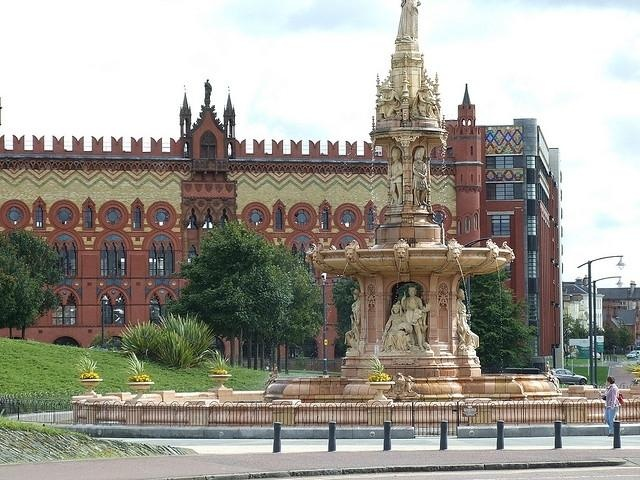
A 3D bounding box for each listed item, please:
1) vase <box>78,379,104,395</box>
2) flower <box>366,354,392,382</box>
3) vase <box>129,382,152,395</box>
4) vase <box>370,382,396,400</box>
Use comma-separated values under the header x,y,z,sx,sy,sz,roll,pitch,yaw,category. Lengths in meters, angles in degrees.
x,y,z,sx,sy,sz,roll,pitch,yaw,category
-8.480,5.429,61.533,0.700,0.622,1.433,2,-6,-8,vase
1.838,4.433,56.128,0.699,0.783,0.717,-2,-5,3,flower
-6.528,5.385,60.674,0.788,0.336,0.787,2,-4,-17,vase
1.923,5.058,55.764,0.653,0.440,0.647,0,-9,1,vase
